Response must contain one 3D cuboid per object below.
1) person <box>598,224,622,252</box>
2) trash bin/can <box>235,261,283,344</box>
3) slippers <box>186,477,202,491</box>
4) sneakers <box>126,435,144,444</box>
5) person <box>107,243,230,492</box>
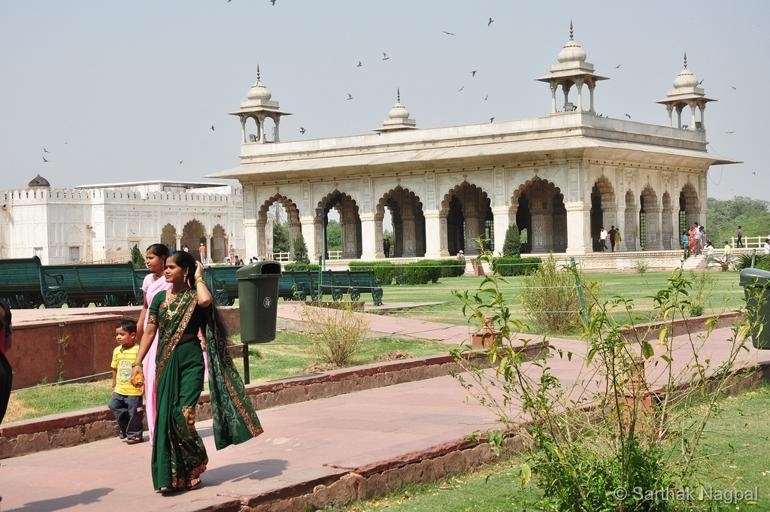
[{"bbox_3d":[8.068,-0.668,31.314,1.025,1.187,0.388,0,-3,-1],"label":"person"},{"bbox_3d":[-1.227,0.449,8.629,0.416,0.814,0.305,-4,0,-7],"label":"trash bin/can"},{"bbox_3d":[-1.326,1.581,6.152,0.066,0.080,0.178,-4,1,10],"label":"slippers"},{"bbox_3d":[-2.092,1.535,7.310,0.117,0.048,0.062,8,-11,-29],"label":"sneakers"},{"bbox_3d":[-1.460,0.791,6.294,0.492,1.715,0.541,-4,0,-16],"label":"person"}]
